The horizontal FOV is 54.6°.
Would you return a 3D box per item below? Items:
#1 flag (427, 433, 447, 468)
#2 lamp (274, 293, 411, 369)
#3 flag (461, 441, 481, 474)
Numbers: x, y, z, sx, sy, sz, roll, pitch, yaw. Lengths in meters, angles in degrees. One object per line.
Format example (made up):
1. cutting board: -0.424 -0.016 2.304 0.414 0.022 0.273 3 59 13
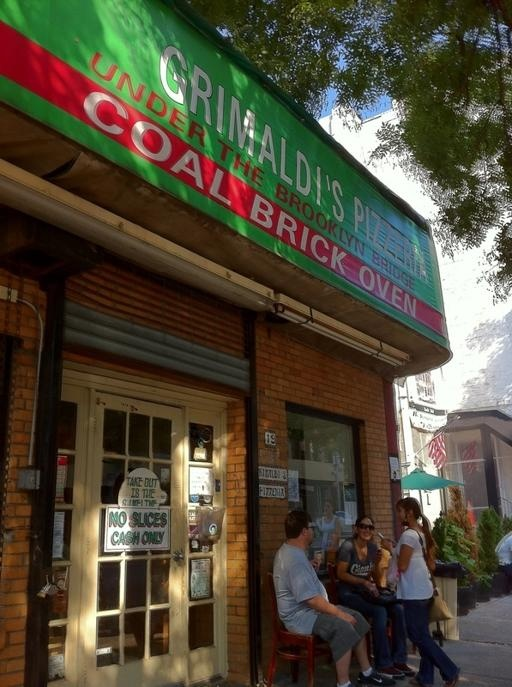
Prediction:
1. flag: 5.475 3.217 15.152 0.496 1.133 2.134 -8 -17 18
2. lamp: 1.027 -0.125 5.886 0.181 0.253 2.856 -16 -20 37
3. flag: 8.952 4.744 20.675 0.128 1.381 0.973 2 -20 -32
